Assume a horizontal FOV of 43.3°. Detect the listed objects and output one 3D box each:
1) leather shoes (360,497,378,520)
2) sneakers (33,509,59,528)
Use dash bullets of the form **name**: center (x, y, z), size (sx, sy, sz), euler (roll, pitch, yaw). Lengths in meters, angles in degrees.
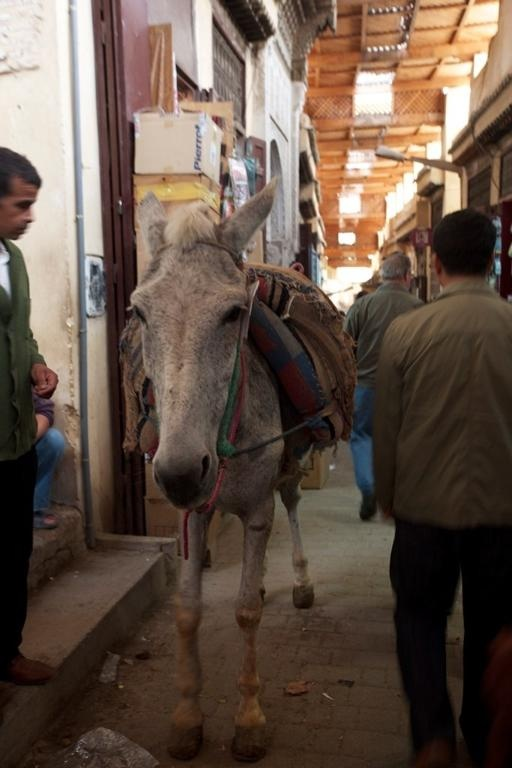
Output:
- **leather shoes**: center (0.928, 1.021, 5.263), size (0.086, 0.114, 0.249), euler (0, 19, 13)
- **sneakers**: center (-1.120, 0.724, 3.463), size (0.168, 0.078, 0.059), euler (3, -4, 25)
